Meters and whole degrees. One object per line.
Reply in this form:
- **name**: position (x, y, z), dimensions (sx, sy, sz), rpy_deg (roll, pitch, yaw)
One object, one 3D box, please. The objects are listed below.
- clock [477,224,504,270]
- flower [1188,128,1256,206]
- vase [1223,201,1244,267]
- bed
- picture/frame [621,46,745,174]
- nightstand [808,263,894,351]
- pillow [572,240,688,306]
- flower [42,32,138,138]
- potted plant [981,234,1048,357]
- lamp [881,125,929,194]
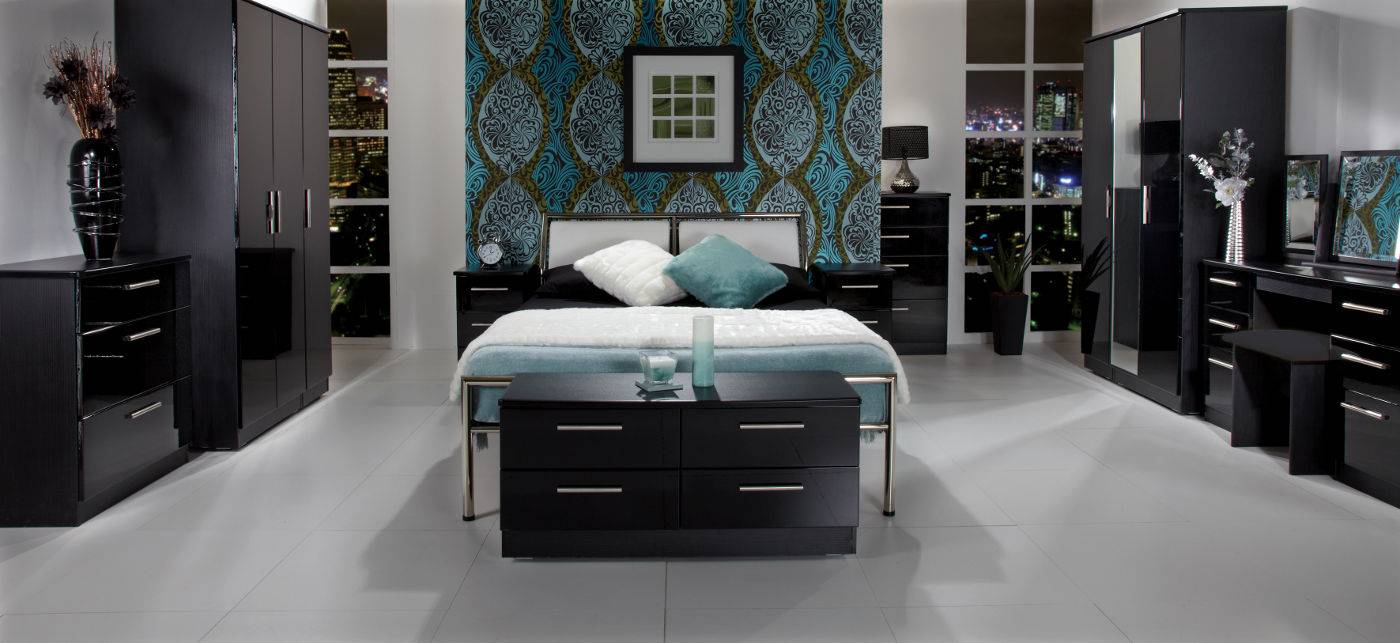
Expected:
- **clock**: position (-2.318, -0.805, 8.664), dimensions (0.358, 0.436, 0.241), rpy_deg (-7, 24, -44)
- **flower**: position (4.735, -1.376, 7.279), dimensions (0.572, 0.695, 0.318), rpy_deg (-7, 14, -16)
- **vase**: position (4.769, -0.800, 7.189), dimensions (0.141, 0.519, 0.306), rpy_deg (4, 16, 31)
- **bed**: position (-0.404, 0.028, 7.472), dimensions (3.467, 1.594, 3.229), rpy_deg (0, 6, 0)
- **picture/frame**: position (-0.222, -2.338, 8.703), dimensions (1.718, 1.349, 0.128), rpy_deg (0, 4, -3)
- **nightstand**: position (1.599, -0.141, 8.683), dimensions (1.074, 1.088, 0.822), rpy_deg (-1, 2, -2)
- **pillow**: position (-0.674, -0.451, 7.873), dimensions (0.779, 0.227, 0.788), rpy_deg (28, 40, 34)
- **flower**: position (-4.828, -1.875, 6.428), dimensions (0.626, 0.679, 0.580), rpy_deg (-11, -1, -30)
- **potted plant**: position (3.545, -0.294, 9.325), dimensions (0.482, 1.243, 0.779), rpy_deg (1, 14, 20)
- **lamp**: position (2.324, -1.843, 9.223), dimensions (0.473, 0.758, 0.415), rpy_deg (0, 14, 17)
